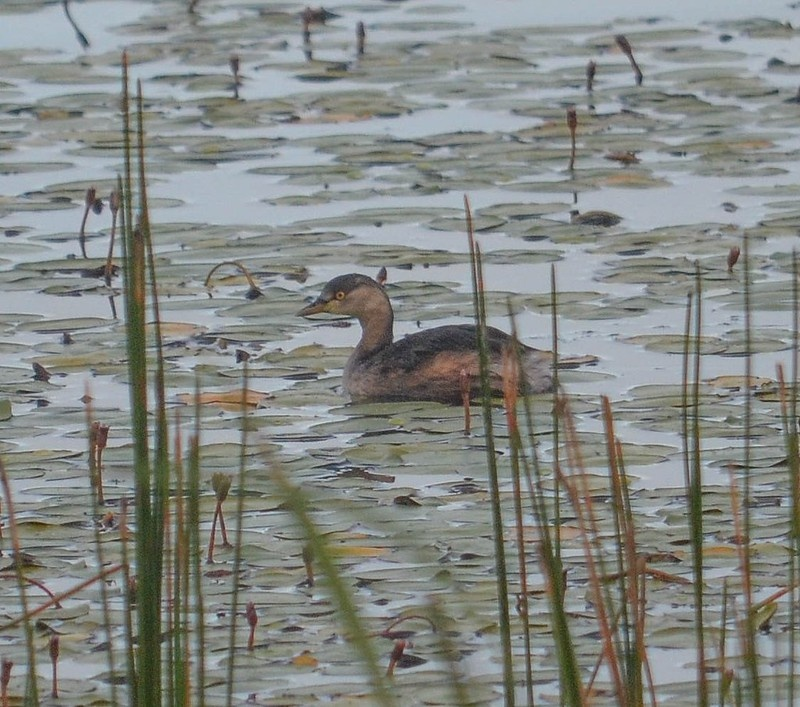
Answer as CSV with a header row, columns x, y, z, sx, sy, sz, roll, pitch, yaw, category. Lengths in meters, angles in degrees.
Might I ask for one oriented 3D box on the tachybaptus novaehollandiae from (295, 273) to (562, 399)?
x,y,z,sx,sy,sz,roll,pitch,yaw,category
0.185,-0.046,8.348,1.274,0.626,0.409,2,15,20,tachybaptus novaehollandiae
